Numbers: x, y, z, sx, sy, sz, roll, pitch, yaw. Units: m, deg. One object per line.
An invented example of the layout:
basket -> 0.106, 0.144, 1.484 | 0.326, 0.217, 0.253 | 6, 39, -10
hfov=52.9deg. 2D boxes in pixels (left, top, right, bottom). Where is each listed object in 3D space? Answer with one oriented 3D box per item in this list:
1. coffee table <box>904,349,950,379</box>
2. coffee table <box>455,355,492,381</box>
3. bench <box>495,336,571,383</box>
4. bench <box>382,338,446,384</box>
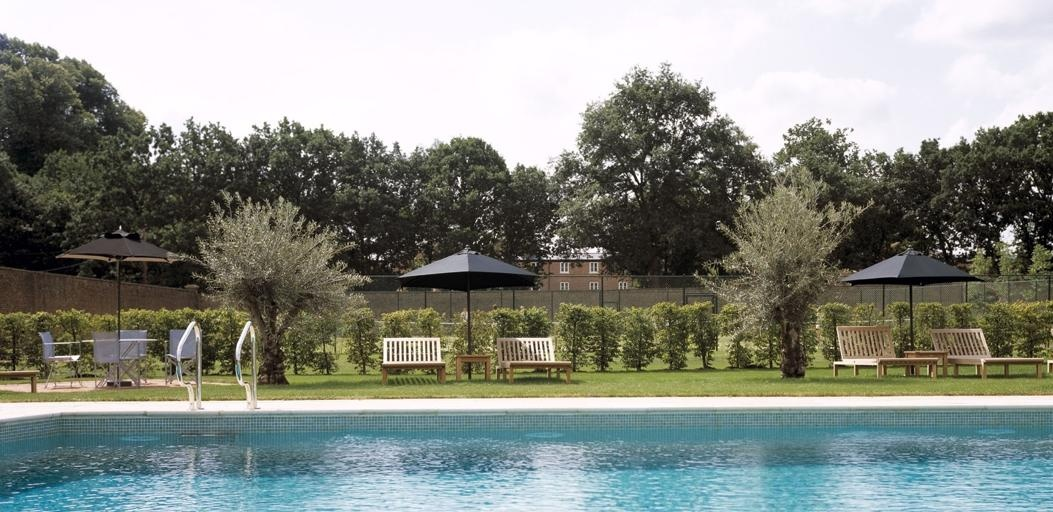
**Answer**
coffee table -> 22.783, 6.180, 59.670 | 1.811, 1.225, 1.749 | -1, -2, -1
coffee table -> -2.999, 6.361, 60.284 | 2.037, 1.491, 3.149 | -1, -8, -2
bench -> 0.402, 5.794, 58.935 | 4.050, 2.559, 1.905 | -1, -8, -2
bench -> -6.323, 5.818, 59.076 | 3.437, 2.643, 2.144 | -1, -8, -5
